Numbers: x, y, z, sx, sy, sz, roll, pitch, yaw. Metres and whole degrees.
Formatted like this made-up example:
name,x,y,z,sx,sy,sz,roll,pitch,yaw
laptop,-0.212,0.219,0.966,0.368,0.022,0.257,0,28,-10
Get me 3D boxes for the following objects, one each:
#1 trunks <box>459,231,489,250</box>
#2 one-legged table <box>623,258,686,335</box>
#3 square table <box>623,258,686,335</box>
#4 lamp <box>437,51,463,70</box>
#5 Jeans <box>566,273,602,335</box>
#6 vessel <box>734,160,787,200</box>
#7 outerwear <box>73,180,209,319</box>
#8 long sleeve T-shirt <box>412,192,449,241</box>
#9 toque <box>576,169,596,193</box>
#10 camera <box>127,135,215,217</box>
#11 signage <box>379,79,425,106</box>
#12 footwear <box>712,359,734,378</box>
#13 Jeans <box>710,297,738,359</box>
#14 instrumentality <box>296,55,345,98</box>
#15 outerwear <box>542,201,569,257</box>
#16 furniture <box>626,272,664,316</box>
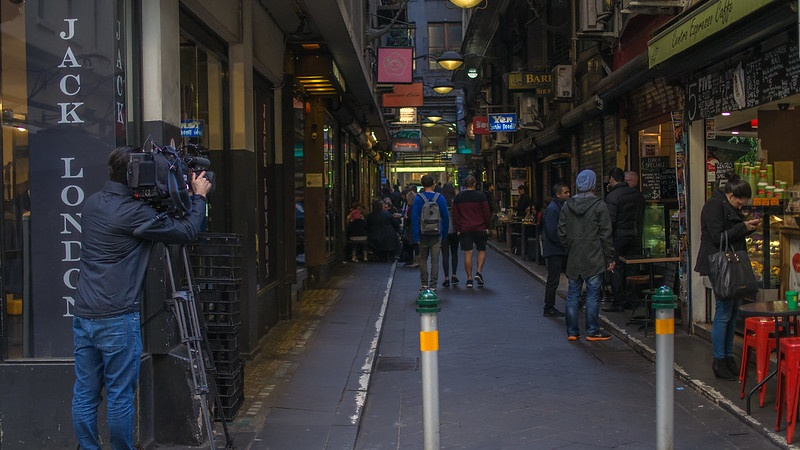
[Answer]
name,x,y,z,sx,sy,sz,roll,pitch,yaw
trunks,1.612,0.332,17.699,0.696,0.510,0.392,2,7,19
one-legged table,4.456,1.113,14.338,0.951,1.100,1.241,-3,0,-1
square table,4.771,1.280,14.484,1.329,1.380,1.469,0,1,5
lamp,1.351,-4.353,21.698,0.542,0.450,0.533,0,2,0
Jeans,3.003,1.103,13.255,0.574,1.556,0.440,1,18,9
vessel,5.558,-0.658,12.592,0.814,0.718,0.638,-3,2,-41
outerwear,-2.971,0.195,9.524,1.321,1.482,1.513,5,13,5
long sleeve T-shirt,0.615,-0.142,17.026,0.847,1.115,0.591,-2,5,-7
toque,3.061,-0.739,13.304,0.300,0.387,0.398,11,24,25
camera,-2.536,-0.528,9.250,1.027,0.633,0.983,-3,-11,39
signage,0.025,-3.794,23.370,0.902,0.531,0.125,-2,-13,12
footwear,4.534,2.019,11.398,0.272,0.304,0.092,-2,0,20
Jeans,4.543,1.443,11.382,0.428,0.869,0.314,-2,0,-43
instrumentality,-1.817,-3.105,17.177,0.867,0.423,1.874,-6,-5,-7
outerwear,2.937,-0.118,14.795,0.507,0.902,0.688,3,22,22
furniture,4.389,1.259,14.827,0.772,0.842,0.776,0,0,-2
